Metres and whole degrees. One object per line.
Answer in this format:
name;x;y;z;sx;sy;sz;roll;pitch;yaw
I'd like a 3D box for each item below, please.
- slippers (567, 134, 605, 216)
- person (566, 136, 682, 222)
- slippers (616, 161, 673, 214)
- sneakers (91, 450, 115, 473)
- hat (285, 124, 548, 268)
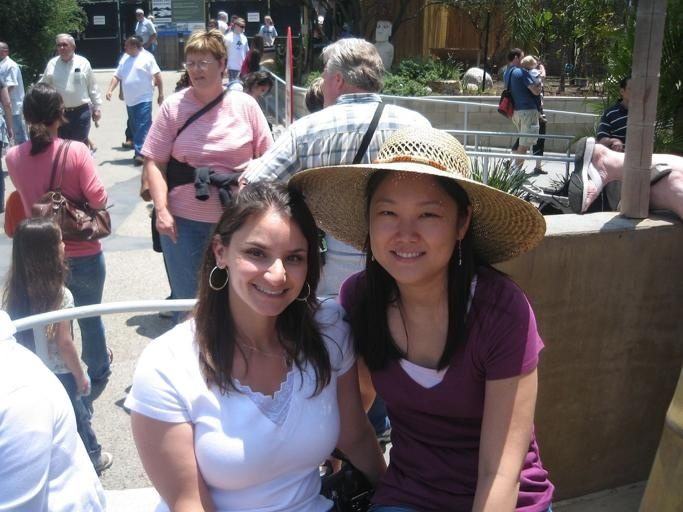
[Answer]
slippers;1.827;-0.583;5.075;0.204;0.687;0.242;1;6;20
person;1.855;-0.533;4.632;0.753;0.588;0.355;20;22;11
slippers;1.707;-0.386;3.816;0.078;0.279;0.251;15;-1;-17
sneakers;-1.463;1.257;4.207;0.066;0.120;0.159;5;20;16
hat;0.290;-0.250;3.167;0.769;0.371;0.800;20;-22;-17
